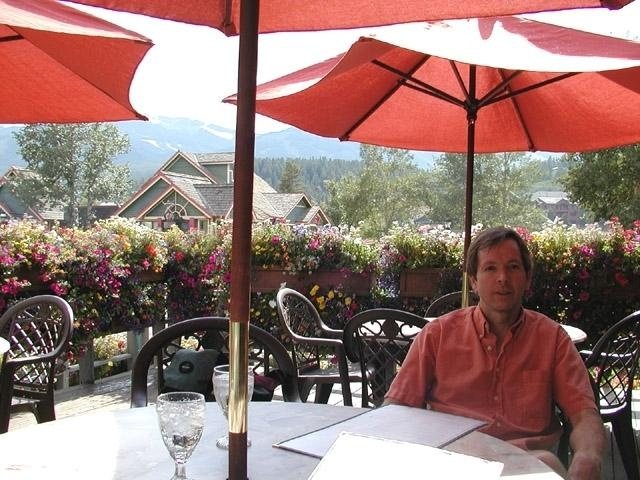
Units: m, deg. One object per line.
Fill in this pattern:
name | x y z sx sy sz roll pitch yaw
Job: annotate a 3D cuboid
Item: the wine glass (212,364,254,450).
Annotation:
wine glass | -0.275 0.535 1.834 0.140 0.248 0.153 -5 -11 14
